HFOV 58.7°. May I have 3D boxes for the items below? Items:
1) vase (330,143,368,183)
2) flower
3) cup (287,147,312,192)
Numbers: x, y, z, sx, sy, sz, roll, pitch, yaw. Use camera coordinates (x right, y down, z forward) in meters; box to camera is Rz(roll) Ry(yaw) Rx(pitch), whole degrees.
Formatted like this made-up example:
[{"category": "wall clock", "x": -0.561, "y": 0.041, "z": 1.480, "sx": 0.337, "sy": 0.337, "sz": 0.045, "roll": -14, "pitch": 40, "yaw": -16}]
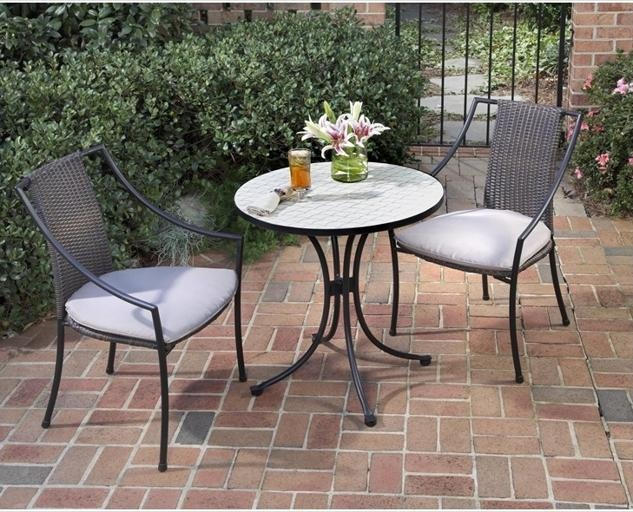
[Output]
[{"category": "vase", "x": 0.140, "y": -0.483, "z": 2.914, "sx": 0.243, "sy": 0.171, "sz": 0.188, "roll": -7, "pitch": 26, "yaw": -10}, {"category": "flower", "x": 0.192, "y": -0.580, "z": 2.847, "sx": 0.499, "sy": 0.338, "sz": 0.433, "roll": 0, "pitch": 8, "yaw": -5}, {"category": "cup", "x": -0.082, "y": -0.419, "z": 2.749, "sx": 0.104, "sy": 0.208, "sz": 0.147, "roll": -3, "pitch": 29, "yaw": -2}]
